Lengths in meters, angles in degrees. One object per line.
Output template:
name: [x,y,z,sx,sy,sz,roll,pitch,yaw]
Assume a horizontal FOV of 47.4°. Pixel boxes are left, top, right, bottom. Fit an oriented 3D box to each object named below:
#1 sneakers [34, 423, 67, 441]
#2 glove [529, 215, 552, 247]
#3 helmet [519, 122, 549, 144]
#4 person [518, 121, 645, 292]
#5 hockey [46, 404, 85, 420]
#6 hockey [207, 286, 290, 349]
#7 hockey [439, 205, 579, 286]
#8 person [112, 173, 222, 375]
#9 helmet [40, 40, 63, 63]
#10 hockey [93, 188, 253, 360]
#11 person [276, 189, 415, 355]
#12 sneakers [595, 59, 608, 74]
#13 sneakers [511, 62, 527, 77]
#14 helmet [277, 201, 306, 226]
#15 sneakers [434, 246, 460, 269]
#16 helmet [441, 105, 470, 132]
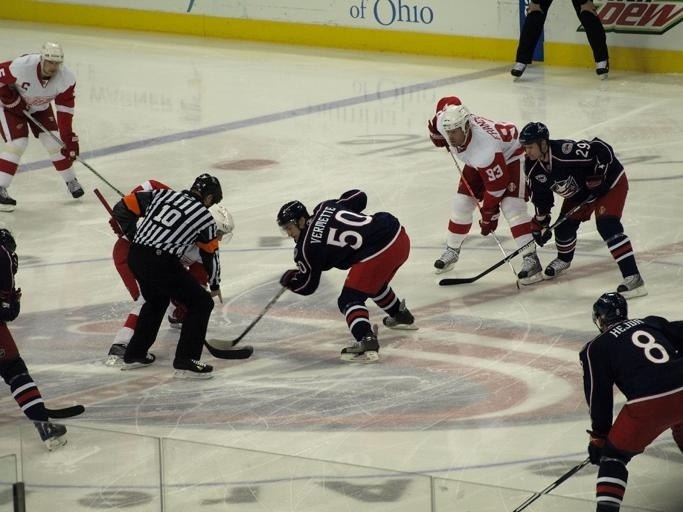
sneakers: [-1.089,0.665,2.951,0.141,0.066,0.039,0,16,7]
glove: [1.398,-0.173,5.462,0.226,0.179,0.090,-6,7,6]
helmet: [1.224,-0.776,4.935,0.207,0.126,0.150,-1,3,-16]
person: [1.581,-0.326,5.101,0.789,1.089,0.831,0,15,13]
hockey: [-1.361,0.774,3.841,0.138,0.022,0.117,3,4,32]
hockey: [-0.469,0.358,4.640,0.659,0.058,0.263,-26,27,-35]
hockey: [1.199,-0.055,5.515,1.082,0.103,0.106,-29,60,-9]
person: [-0.946,0.109,4.294,0.634,1.068,0.483,-6,16,-7]
helmet: [-2.326,-1.678,6.427,0.196,0.166,0.212,-5,16,-25]
hockey: [-0.981,0.150,4.575,0.567,1.320,0.397,22,50,-28]
person: [0.048,0.089,4.533,0.588,0.898,0.586,5,17,28]
sneakers: [3.337,-2.415,10.003,0.144,0.192,0.115,2,16,19]
sneakers: [2.378,-2.495,10.401,0.171,0.113,0.229,15,41,23]
helmet: [-0.271,-0.240,4.446,0.194,0.118,0.130,-19,0,-15]
sneakers: [0.761,0.010,5.591,0.101,0.089,0.262,12,28,30]
helmet: [0.747,-0.907,5.133,0.199,0.168,0.210,-1,13,6]
